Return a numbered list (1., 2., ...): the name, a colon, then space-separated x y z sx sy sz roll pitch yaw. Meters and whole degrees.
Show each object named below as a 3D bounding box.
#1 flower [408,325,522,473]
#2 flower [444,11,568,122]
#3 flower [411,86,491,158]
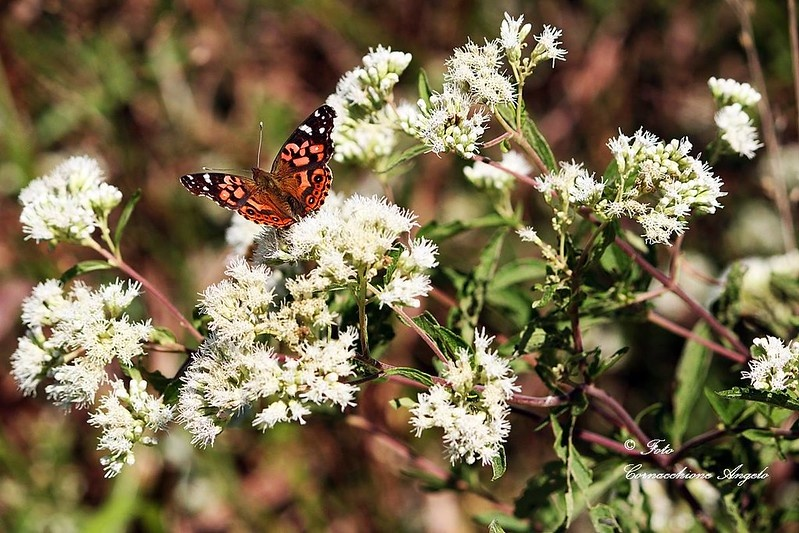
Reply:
1. flower: 0.376 0.751 4.199 0.529 0.429 0.781 6 74 -1
2. flower: 0.684 -1.205 4.611 0.563 0.715 0.320 0 93 6
3. flower: 0.311 -0.804 4.535 0.366 0.275 0.448 1 88 2
